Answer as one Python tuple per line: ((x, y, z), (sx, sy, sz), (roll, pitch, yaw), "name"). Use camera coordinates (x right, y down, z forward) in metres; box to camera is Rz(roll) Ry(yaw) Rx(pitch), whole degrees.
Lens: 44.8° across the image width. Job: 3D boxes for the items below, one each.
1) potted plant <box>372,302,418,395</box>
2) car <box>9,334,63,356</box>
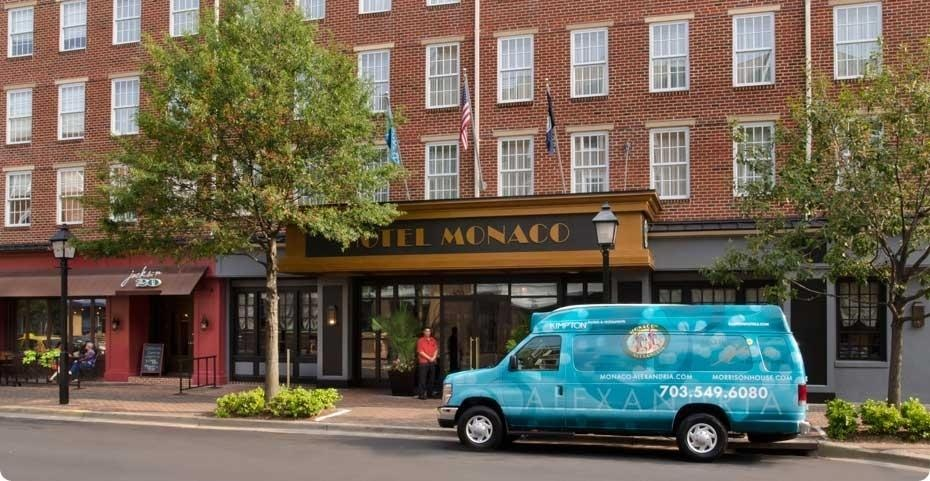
((-3.015, 4.650, 48.509), (1.945, 3.810, 1.629), (-2, -2, 1), "potted plant")
((-20.540, 4.988, 53.785), (2.195, 0.910, 1.318), (-2, -5, 21), "car")
